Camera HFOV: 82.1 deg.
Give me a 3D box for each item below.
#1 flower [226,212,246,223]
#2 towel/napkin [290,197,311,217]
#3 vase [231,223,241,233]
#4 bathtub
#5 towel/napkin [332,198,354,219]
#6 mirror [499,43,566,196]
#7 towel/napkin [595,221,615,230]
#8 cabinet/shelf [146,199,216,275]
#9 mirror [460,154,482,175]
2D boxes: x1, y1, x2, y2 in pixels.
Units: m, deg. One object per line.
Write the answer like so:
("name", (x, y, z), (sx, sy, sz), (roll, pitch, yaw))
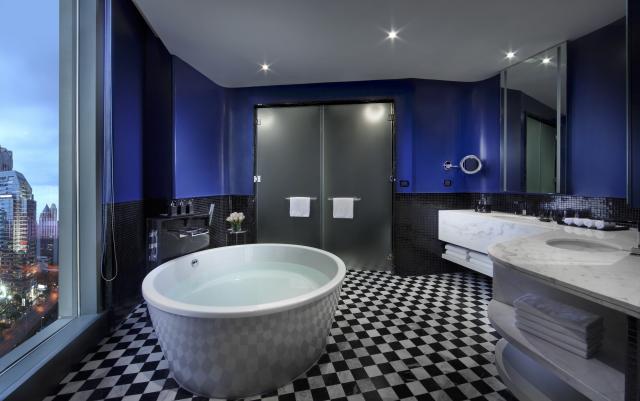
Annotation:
("flower", (-1.146, 0.238, 5.054), (0.174, 0.146, 0.170), (-3, -4, -6))
("towel/napkin", (-0.267, 0.096, 5.200), (0.275, 0.258, 0.103), (1, 8, 4))
("vase", (-1.128, 0.381, 5.050), (0.110, 0.121, 0.110), (3, 2, 20))
("bathtub", (-0.691, 1.136, 3.731), (1.852, 1.108, 1.301), (-3, 3, 7))
("towel/napkin", (0.337, 0.114, 5.134), (0.293, 0.274, 0.040), (1, 6, 8))
("mirror", (2.550, -0.924, 4.418), (0.148, 1.663, 0.752), (-5, 4, -28))
("towel/napkin", (2.840, 0.241, 3.665), (0.156, 0.060, 0.084), (-2, 13, -30))
("cabinet/shelf", (-1.612, 0.436, 4.197), (0.288, 0.604, 0.879), (-1, 1, 18))
("mirror", (2.037, -0.474, 4.958), (0.288, 0.264, 0.160), (-2, 4, 22))
